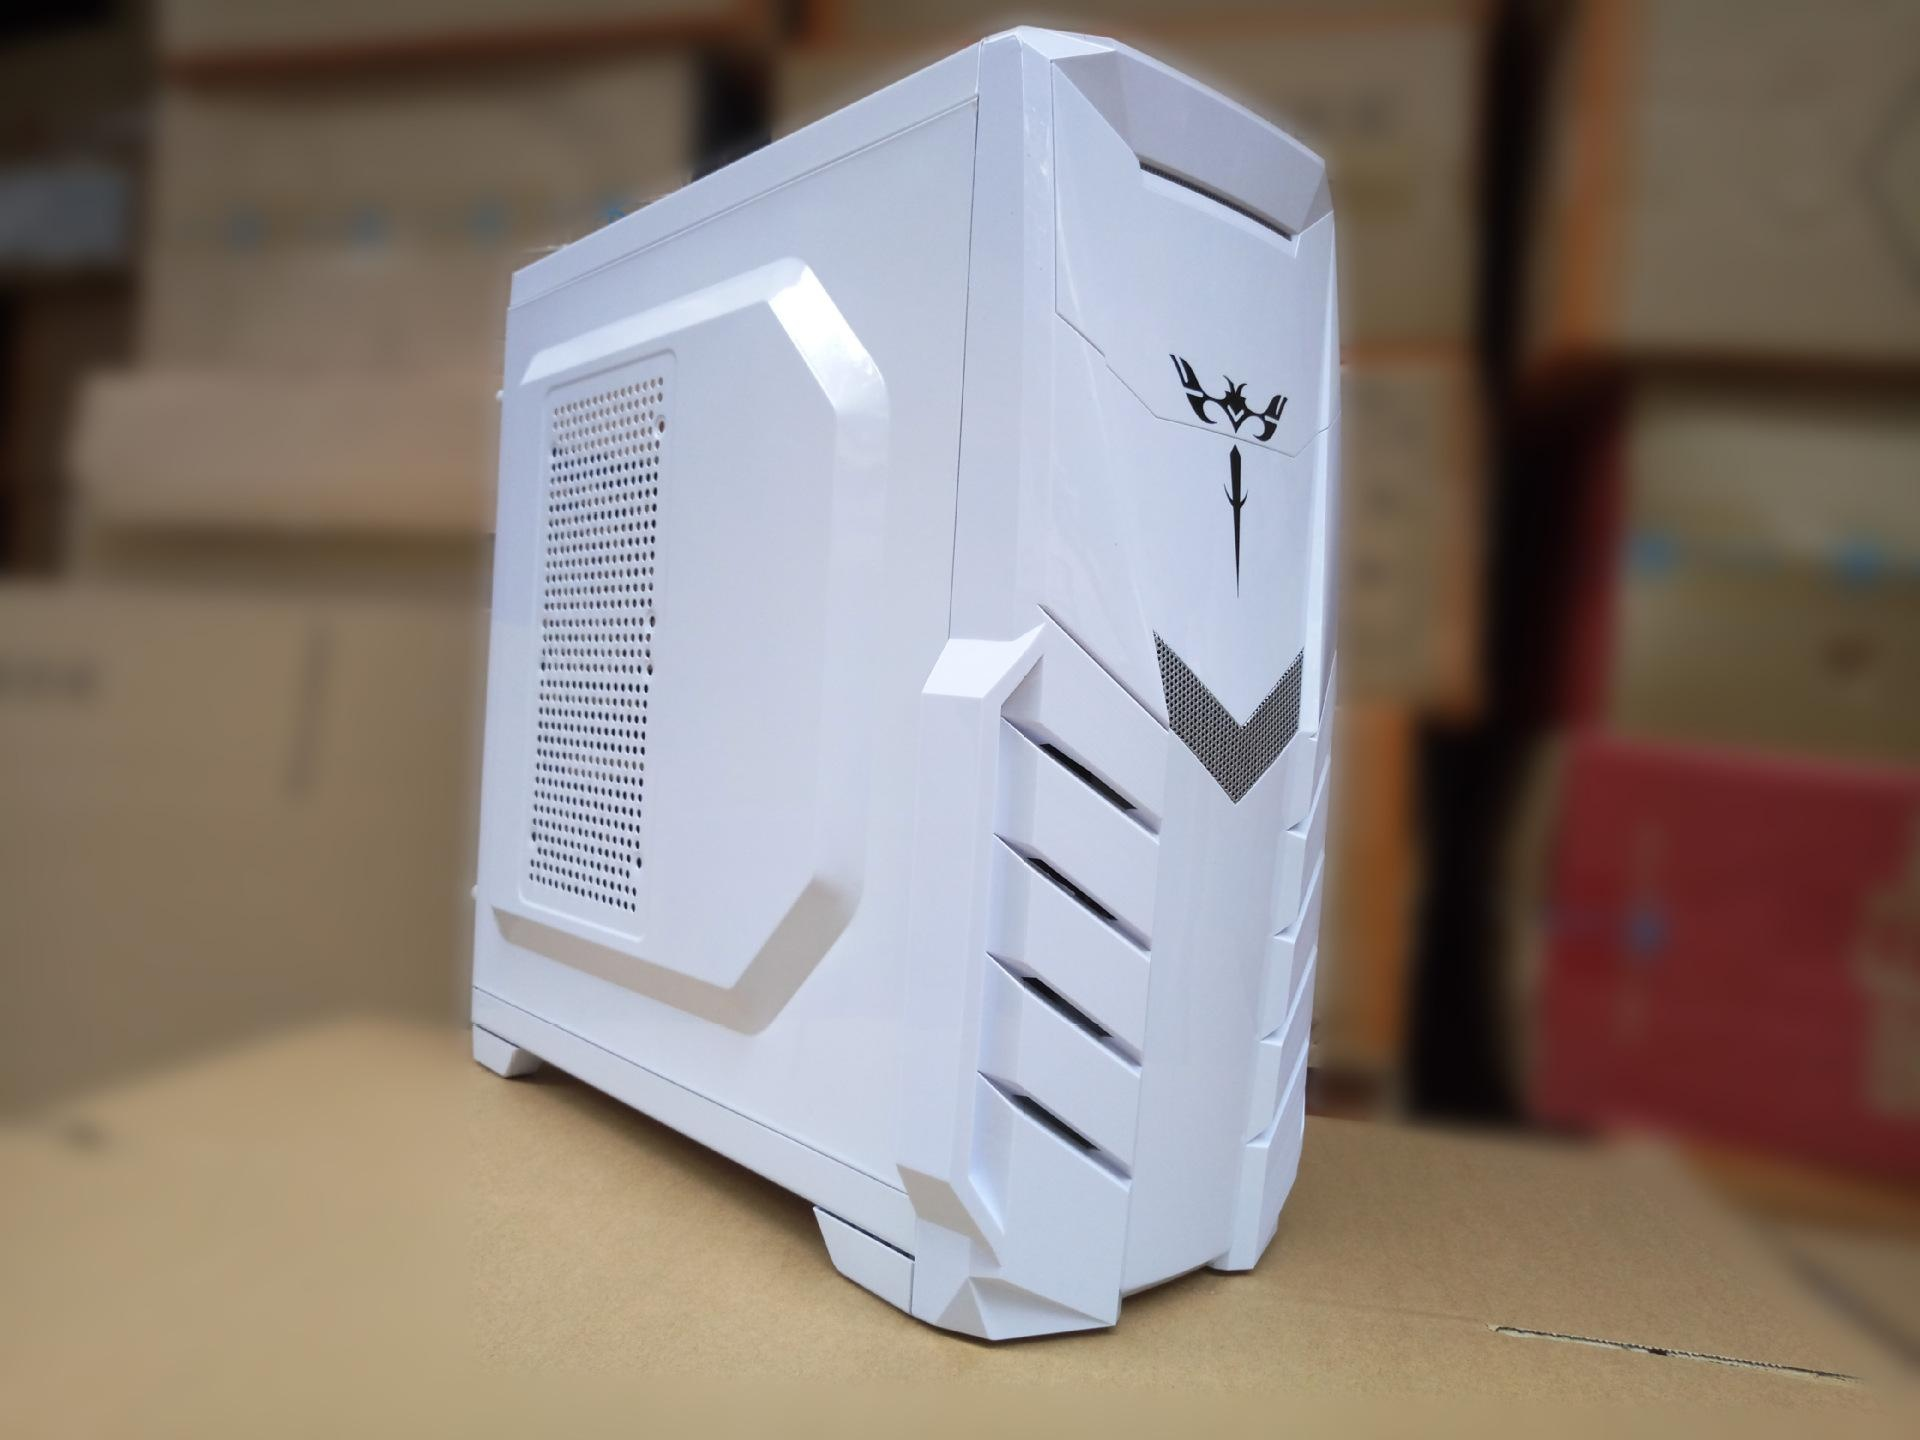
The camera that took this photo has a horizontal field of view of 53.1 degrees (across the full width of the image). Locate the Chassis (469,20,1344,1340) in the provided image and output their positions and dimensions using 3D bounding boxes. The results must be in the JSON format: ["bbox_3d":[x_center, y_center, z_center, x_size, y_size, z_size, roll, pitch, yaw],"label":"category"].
[{"bbox_3d":[-0.120,-0.138,3.078,1.425,1.839,0.806,11,19,28],"label":"Chassis"}]
